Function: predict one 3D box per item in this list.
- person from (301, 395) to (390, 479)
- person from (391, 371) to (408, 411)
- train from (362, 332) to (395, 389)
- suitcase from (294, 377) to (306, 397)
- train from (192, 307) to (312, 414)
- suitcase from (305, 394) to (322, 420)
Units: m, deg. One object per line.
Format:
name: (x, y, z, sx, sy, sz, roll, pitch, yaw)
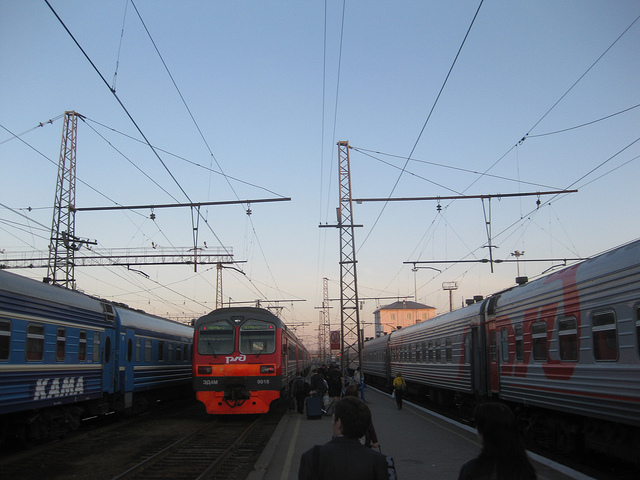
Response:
person: (0.240, 1.955, 5.227, 0.813, 0.706, 0.418, -1, -10, -2)
person: (3.047, 6.189, 21.259, 0.543, 1.462, 0.549, 18, 5, 17)
train: (3.540, 8.859, 38.778, 1.488, 3.282, 9.017, 2, -7, -6)
suitcase: (-0.675, 5.659, 20.168, 0.586, 0.896, 0.472, 1, -39, -2)
train: (-2.749, 4.137, 18.306, 2.907, 3.542, 1.084, 1, -10, -15)
suitcase: (-0.133, 5.868, 18.293, 0.532, 0.759, 0.454, -1, -10, -2)
